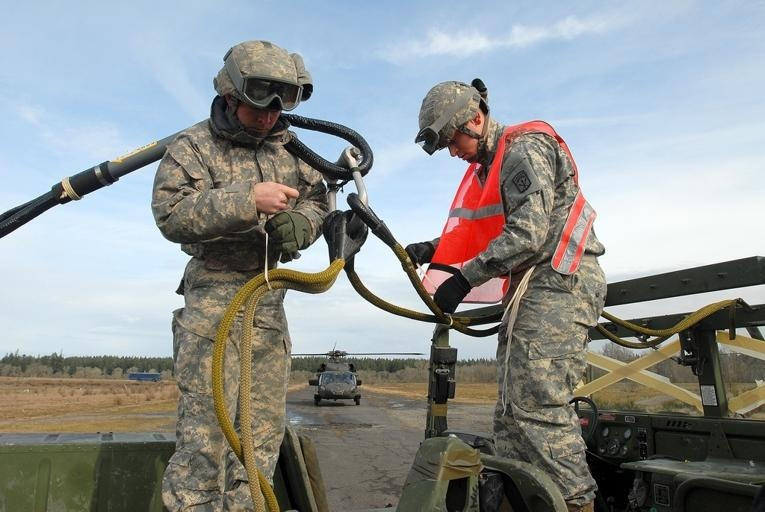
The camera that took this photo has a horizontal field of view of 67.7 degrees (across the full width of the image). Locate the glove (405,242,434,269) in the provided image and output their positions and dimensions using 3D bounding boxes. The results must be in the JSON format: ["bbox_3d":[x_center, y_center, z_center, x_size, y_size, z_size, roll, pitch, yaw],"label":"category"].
[{"bbox_3d":[0.279,-0.026,4.235,0.193,0.248,0.118,-8,10,-42],"label":"glove"}]

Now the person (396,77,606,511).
[{"bbox_3d":[0.825,0.311,3.580,0.903,2.358,0.591,-8,-15,36],"label":"person"}]

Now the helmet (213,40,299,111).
[{"bbox_3d":[-0.726,-1.050,3.315,0.501,0.415,0.226,3,-12,-10],"label":"helmet"}]
